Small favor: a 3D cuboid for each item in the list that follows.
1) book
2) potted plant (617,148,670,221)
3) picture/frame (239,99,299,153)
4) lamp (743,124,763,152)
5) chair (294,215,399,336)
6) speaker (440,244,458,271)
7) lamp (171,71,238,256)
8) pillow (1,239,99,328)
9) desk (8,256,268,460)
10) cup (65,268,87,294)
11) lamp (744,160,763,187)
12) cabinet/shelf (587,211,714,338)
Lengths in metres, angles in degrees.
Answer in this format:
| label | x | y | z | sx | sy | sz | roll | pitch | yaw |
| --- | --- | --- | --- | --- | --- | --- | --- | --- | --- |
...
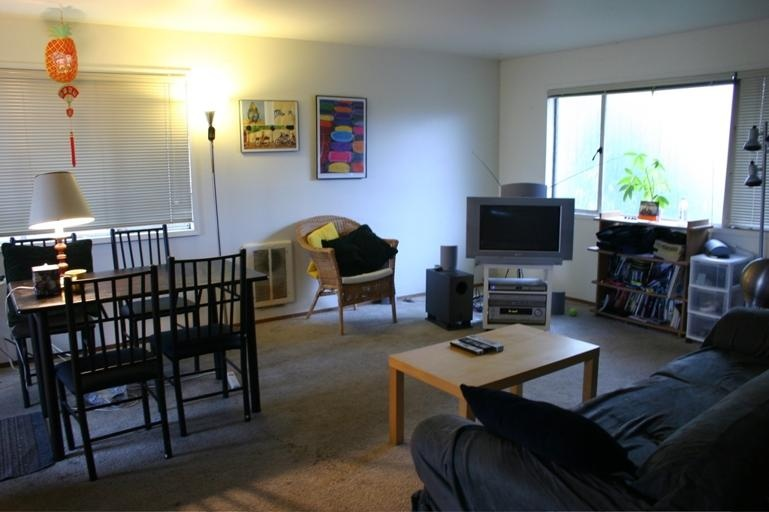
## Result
| label | x | y | z | sx | sy | sz | roll | pitch | yaw |
| --- | --- | --- | --- | --- | --- | --- | --- | --- | --- |
| book | 2.767 | 0.404 | 5.862 | 0.268 | 0.548 | 0.743 | -2 | 6 | -28 |
| potted plant | 2.949 | -0.854 | 6.233 | 0.236 | 0.623 | 0.535 | -9 | 12 | -30 |
| picture/frame | -1.281 | -1.414 | 5.925 | 0.589 | 0.489 | 0.022 | -8 | 12 | -31 |
| lamp | 3.495 | -1.110 | 5.178 | 0.140 | 0.242 | 0.381 | 5 | 12 | 33 |
| chair | -0.372 | 0.150 | 6.105 | 1.094 | 1.174 | 0.877 | -6 | 11 | -21 |
| speaker | 0.697 | 0.026 | 6.139 | 0.242 | 0.382 | 0.262 | 0 | 4 | 15 |
| lamp | -1.805 | -0.982 | 5.715 | 0.524 | 1.918 | 0.198 | -5 | 11 | -15 |
| pillow | -2.540 | 0.208 | 4.168 | 0.592 | 0.589 | 0.215 | -16 | -16 | -11 |
| desk | -1.976 | 0.286 | 4.344 | 1.954 | 1.316 | 1.301 | -6 | 10 | -30 |
| cup | -2.157 | 0.180 | 3.832 | 0.154 | 0.113 | 0.151 | -1 | 12 | 0 |
| lamp | 3.553 | -0.776 | 5.258 | 0.133 | 0.271 | 0.482 | 5 | 13 | 34 |
| cabinet/shelf | 2.838 | 0.205 | 5.767 | 0.620 | 1.325 | 1.172 | -4 | 8 | -37 |
